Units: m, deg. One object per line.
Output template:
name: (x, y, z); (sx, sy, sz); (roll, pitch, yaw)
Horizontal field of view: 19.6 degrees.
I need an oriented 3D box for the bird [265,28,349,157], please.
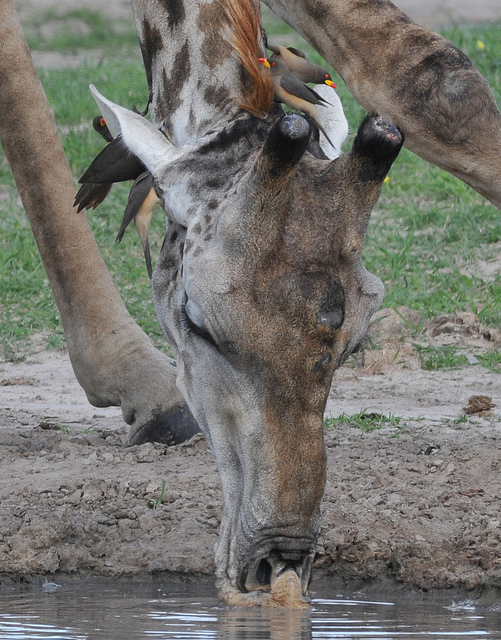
bird: (0.140, -0.734, 4.630); (0.305, 0.151, 0.105); (12, 13, -32)
